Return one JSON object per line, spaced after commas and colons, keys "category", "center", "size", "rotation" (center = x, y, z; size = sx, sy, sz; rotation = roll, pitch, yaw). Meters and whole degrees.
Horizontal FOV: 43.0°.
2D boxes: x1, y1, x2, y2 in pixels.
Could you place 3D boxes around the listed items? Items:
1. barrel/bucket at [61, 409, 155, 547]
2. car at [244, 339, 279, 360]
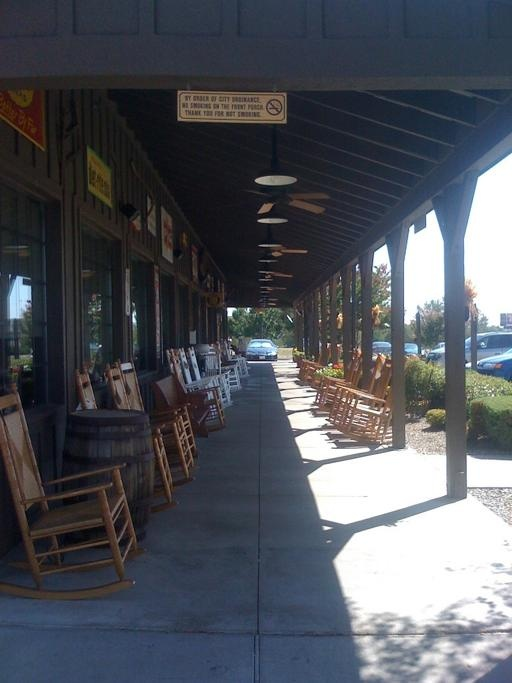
{"category": "barrel/bucket", "center": [-0.677, 0.740, 3.662], "size": [0.487, 0.873, 0.580], "rotation": [-1, -2, -2]}
{"category": "car", "center": [0.213, 0.350, 31.028], "size": [0.905, 0.960, 2.495], "rotation": [-1, -5, 3]}
